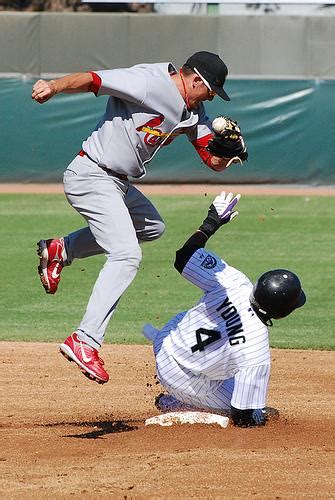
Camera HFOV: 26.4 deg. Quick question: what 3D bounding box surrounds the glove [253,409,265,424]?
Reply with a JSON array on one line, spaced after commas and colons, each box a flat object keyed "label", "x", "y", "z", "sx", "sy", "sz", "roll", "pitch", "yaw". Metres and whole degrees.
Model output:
[{"label": "glove", "x": 0.503, "y": 0.933, "z": 4.018, "sx": 0.084, "sy": 0.097, "sz": 0.028, "roll": 11, "pitch": -27, "yaw": -27}]

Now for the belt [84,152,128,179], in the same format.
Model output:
[{"label": "belt", "x": -0.329, "y": -0.427, "z": 3.897, "sx": 0.159, "sy": 0.058, "sz": 0.172, "roll": 32, "pitch": -3, "yaw": 32}]

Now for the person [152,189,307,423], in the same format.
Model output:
[{"label": "person", "x": 0.290, "y": 0.314, "z": 3.797, "sx": 0.385, "sy": 1.223, "sz": 0.763, "roll": -4, "pitch": 6, "yaw": -41}]

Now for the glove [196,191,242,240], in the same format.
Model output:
[{"label": "glove", "x": 0.301, "y": -0.203, "z": 4.102, "sx": 0.213, "sy": 0.274, "sz": 0.501, "roll": 0, "pitch": 3, "yaw": 7}]

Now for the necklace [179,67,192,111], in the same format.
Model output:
[{"label": "necklace", "x": 0.098, "y": -0.868, "z": 3.849, "sx": 0.047, "sy": 0.163, "sz": 0.128, "roll": -2, "pitch": 10, "yaw": 13}]

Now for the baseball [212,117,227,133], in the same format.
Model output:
[{"label": "baseball", "x": 0.287, "y": -0.714, "z": 4.086, "sx": 0.072, "sy": 0.099, "sz": 0.158, "roll": -1, "pitch": 3, "yaw": -10}]
